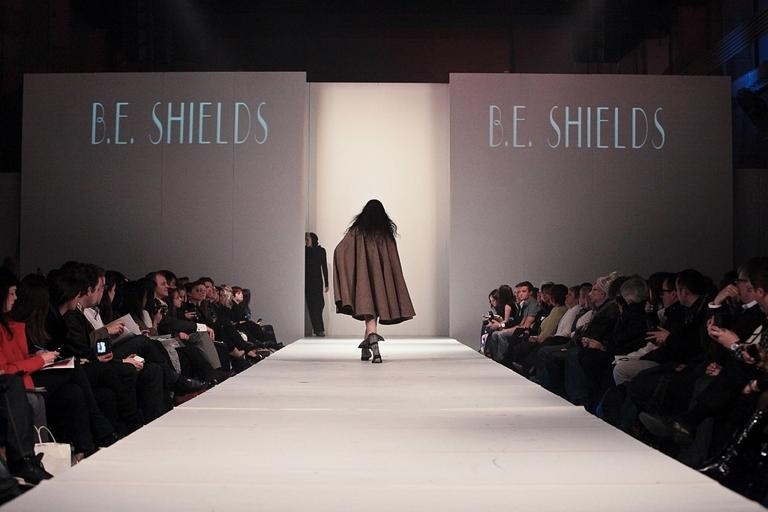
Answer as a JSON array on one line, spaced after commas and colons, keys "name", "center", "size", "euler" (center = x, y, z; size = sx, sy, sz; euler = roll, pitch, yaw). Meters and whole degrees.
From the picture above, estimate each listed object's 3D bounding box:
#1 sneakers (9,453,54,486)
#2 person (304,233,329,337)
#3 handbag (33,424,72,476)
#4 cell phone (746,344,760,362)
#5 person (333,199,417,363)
[{"name": "sneakers", "center": [-2.587, 1.530, 4.389], "size": [0.199, 0.224, 0.265], "euler": [3, 4, 38]}, {"name": "person", "center": [-1.267, 0.523, 11.300], "size": [0.436, 1.920, 0.175], "euler": [0, 3, -9]}, {"name": "handbag", "center": [-2.606, 1.499, 4.651], "size": [0.316, 0.323, 0.217], "euler": [7, -9, -29]}, {"name": "cell phone", "center": [2.780, 0.731, 4.543], "size": [0.024, 0.105, 0.104], "euler": [-4, 19, -24]}, {"name": "person", "center": [-0.119, 0.259, 6.484], "size": [0.838, 1.739, 0.413], "euler": [0, 3, -2]}]
